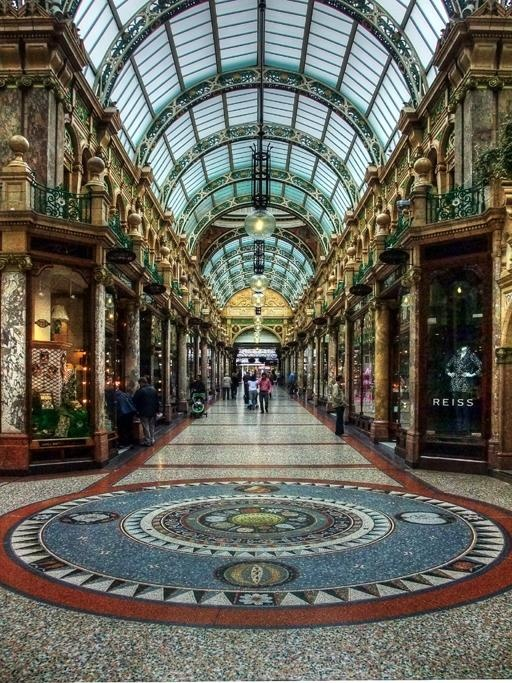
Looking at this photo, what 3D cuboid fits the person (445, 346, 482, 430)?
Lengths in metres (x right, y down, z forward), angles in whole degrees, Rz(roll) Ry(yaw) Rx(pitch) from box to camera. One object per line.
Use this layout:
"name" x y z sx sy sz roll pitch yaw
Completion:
"person" 3.738 0.875 9.516 0.200 1.585 0.663 3 -6 -28

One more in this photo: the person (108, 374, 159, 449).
"person" -2.999 1.786 13.336 0.959 1.672 0.972 1 -5 -11
